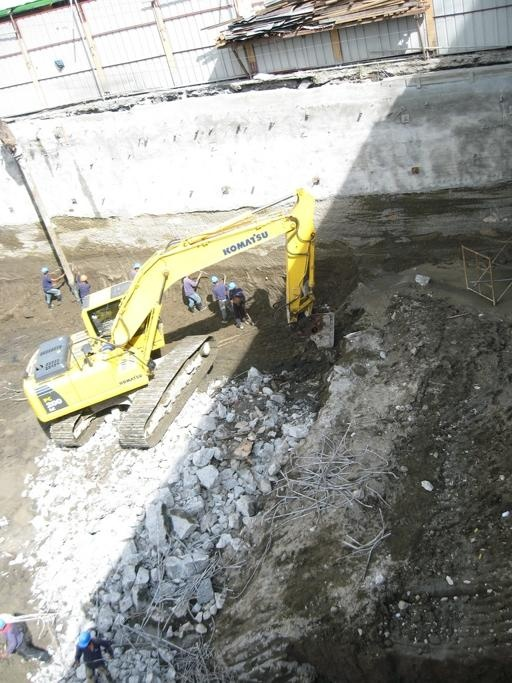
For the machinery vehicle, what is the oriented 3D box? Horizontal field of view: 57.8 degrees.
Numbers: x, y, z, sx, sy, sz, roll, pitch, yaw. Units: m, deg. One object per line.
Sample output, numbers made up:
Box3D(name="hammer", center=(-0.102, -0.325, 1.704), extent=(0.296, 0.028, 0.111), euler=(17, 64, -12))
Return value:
Box3D(name="machinery vehicle", center=(-1.380, -0.378, 8.075), extent=(5.361, 2.873, 2.224), euler=(-18, 33, -13))
